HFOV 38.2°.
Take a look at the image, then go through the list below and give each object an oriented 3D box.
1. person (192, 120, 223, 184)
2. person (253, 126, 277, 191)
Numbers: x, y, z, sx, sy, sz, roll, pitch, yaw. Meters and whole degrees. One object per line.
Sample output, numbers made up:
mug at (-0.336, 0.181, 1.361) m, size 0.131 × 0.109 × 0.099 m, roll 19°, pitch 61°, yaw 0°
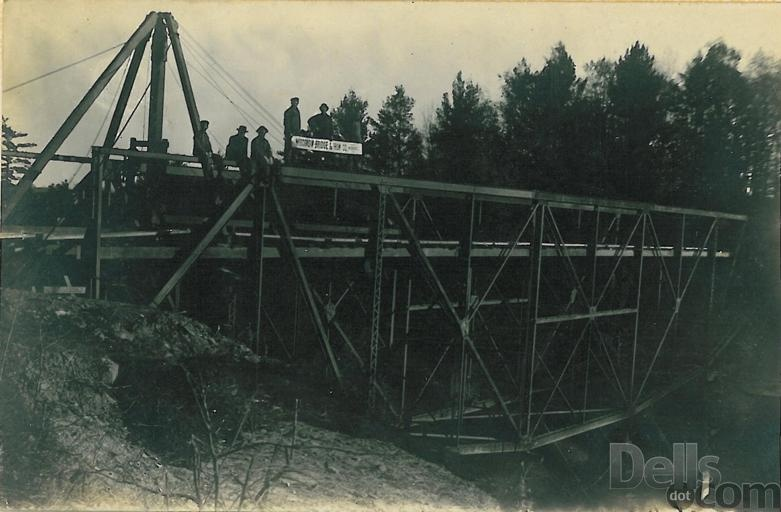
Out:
person at (-4.952, -2.813, 30.644) m, size 0.901 × 1.820 × 0.576 m, roll 10°, pitch -23°, yaw -17°
person at (-3.290, -2.795, 29.643) m, size 0.732 × 1.434 × 1.837 m, roll 6°, pitch -13°, yaw -7°
